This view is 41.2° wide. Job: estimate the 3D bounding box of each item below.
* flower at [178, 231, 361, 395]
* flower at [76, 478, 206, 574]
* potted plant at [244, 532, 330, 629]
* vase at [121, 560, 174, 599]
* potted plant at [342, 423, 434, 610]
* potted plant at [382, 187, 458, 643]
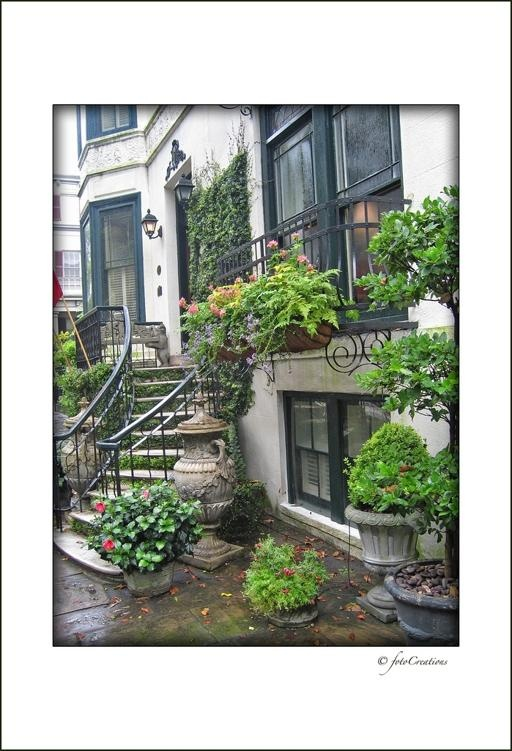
[{"bbox_3d":[0.040,-0.553,5.337,0.707,0.980,1.923,-7,6,-23],"label":"flower"},{"bbox_3d":[-0.857,1.206,4.981,0.703,0.479,0.694,3,21,37],"label":"flower"},{"bbox_3d":[0.201,1.285,4.311,0.520,0.442,0.495,-5,-11,26],"label":"potted plant"},{"bbox_3d":[-0.782,1.444,4.885,0.291,0.177,0.261,-1,0,34],"label":"vase"},{"bbox_3d":[0.833,0.896,4.258,0.587,1.138,0.583,3,-4,-10],"label":"potted plant"},{"bbox_3d":[0.888,0.185,3.570,0.440,2.261,0.644,-4,5,12],"label":"potted plant"}]
